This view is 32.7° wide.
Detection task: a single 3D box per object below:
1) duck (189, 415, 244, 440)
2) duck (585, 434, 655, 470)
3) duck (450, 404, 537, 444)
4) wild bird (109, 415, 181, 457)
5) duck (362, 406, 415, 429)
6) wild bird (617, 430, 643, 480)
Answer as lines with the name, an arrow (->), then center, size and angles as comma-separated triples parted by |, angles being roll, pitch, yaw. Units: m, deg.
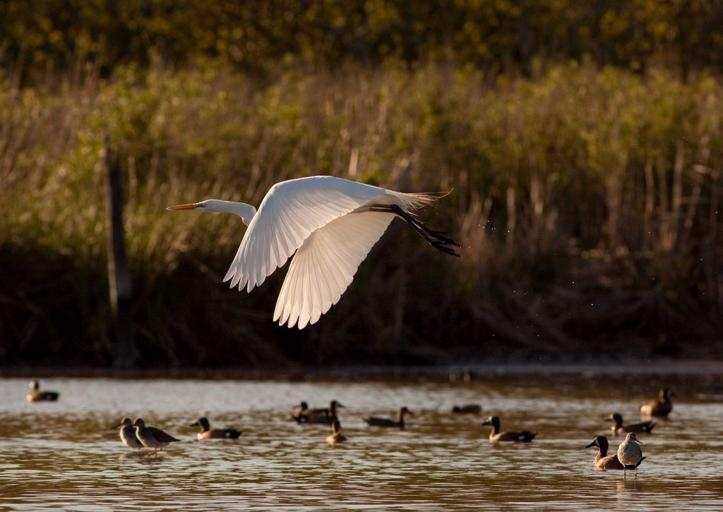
duck -> -2.305, 2.730, 19.299 | 0.823, 0.533, 0.304 | 6, -14, 13
duck -> 3.489, 2.845, 17.053 | 0.935, 0.675, 0.353 | -7, -10, 42
duck -> 2.009, 2.647, 19.238 | 1.213, 0.755, 0.434 | 0, -8, 21
wild bird -> -3.169, 2.643, 18.119 | 0.805, 0.516, 0.527 | 2, 0, 40
duck -> 0.368, 2.622, 20.087 | 0.676, 0.349, 0.768 | 1, 0, -1
wild bird -> 3.603, 2.712, 16.733 | 0.340, 0.532, 0.687 | 2, -19, 3
